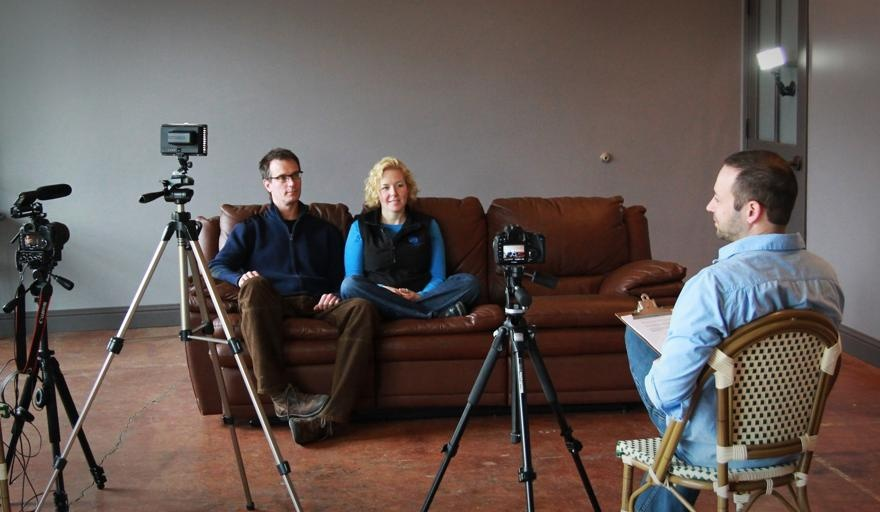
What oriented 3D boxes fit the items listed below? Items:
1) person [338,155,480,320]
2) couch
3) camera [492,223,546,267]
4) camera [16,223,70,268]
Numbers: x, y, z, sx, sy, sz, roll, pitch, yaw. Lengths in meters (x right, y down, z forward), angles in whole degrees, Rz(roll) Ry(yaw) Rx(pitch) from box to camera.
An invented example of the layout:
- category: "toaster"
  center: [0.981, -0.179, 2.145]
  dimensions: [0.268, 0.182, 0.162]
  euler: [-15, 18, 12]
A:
- category: "person"
  center: [-0.222, -0.124, 4.888]
  dimensions: [0.937, 1.103, 0.884]
  euler: [-1, 4, 12]
- category: "couch"
  center: [-0.013, 0.305, 4.998]
  dimensions: [3.391, 1.299, 1.252]
  euler: [-1, 11, -5]
- category: "camera"
  center: [0.498, -0.044, 3.666]
  dimensions: [0.312, 0.217, 0.234]
  euler: [-1, -3, 42]
- category: "camera"
  center: [-2.149, -0.055, 3.779]
  dimensions: [0.180, 0.251, 0.269]
  euler: [2, 5, -1]
